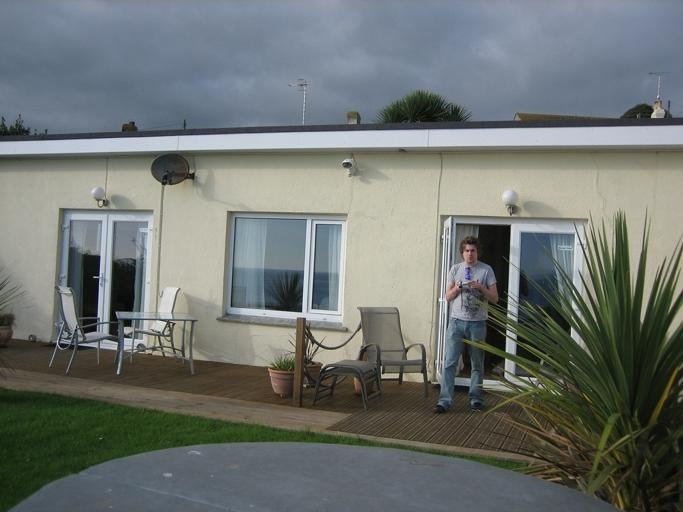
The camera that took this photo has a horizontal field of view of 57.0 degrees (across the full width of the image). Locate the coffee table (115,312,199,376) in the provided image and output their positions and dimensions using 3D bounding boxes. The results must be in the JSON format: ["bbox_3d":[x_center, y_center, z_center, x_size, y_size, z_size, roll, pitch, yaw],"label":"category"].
[{"bbox_3d":[-2.675,1.252,9.199,1.184,0.887,1.739,4,-8,-19],"label":"coffee table"}]

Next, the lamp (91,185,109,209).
[{"bbox_3d":[-4.038,-0.992,10.506,0.292,0.314,0.344,3,-7,-11],"label":"lamp"}]

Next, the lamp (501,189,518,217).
[{"bbox_3d":[2.302,-0.722,8.527,0.267,0.467,0.283,-3,2,7],"label":"lamp"}]

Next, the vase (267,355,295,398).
[{"bbox_3d":[-0.718,1.505,7.943,0.377,0.482,0.401,0,-1,25],"label":"vase"}]

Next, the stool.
[{"bbox_3d":[0.119,1.410,7.610,0.663,0.525,0.527,2,8,27],"label":"stool"}]

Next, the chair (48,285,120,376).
[{"bbox_3d":[-4.019,1.142,9.819,0.847,1.187,2.990,5,-8,-22],"label":"chair"}]

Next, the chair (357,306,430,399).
[{"bbox_3d":[0.675,1.168,8.173,0.789,1.452,1.118,0,-4,-22],"label":"chair"}]

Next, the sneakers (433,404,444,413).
[{"bbox_3d":[1.124,1.739,7.174,0.148,0.101,0.081,1,-7,4],"label":"sneakers"}]
